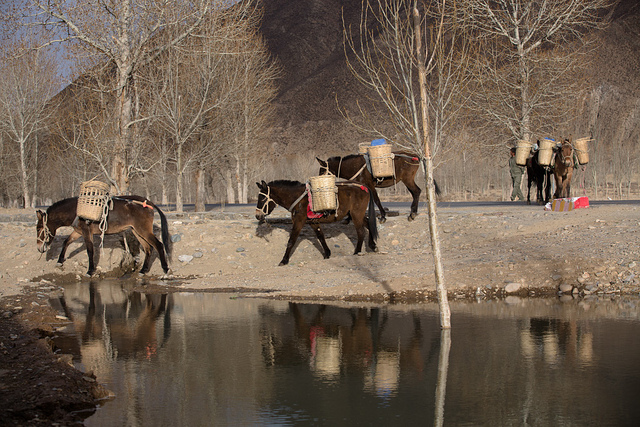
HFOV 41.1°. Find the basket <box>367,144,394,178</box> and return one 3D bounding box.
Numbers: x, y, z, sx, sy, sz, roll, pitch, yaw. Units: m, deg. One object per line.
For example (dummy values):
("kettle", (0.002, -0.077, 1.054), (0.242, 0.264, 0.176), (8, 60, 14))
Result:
("basket", (2.435, -2.070, 32.917), (1.042, 1.206, 1.112), (-8, 7, 23))

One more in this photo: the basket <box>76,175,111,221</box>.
("basket", (-8.008, -0.501, 30.050), (1.039, 1.470, 1.110), (7, -9, 7))

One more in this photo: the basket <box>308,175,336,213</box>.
("basket", (-0.015, -0.700, 30.224), (1.075, 1.526, 1.183), (-6, 3, 3))

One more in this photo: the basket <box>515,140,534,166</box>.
("basket", (8.974, -2.711, 37.560), (0.697, 1.134, 1.032), (-2, -2, 13))

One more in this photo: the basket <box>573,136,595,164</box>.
("basket", (10.998, -2.556, 35.768), (0.887, 1.200, 0.903), (-4, -5, 25))
